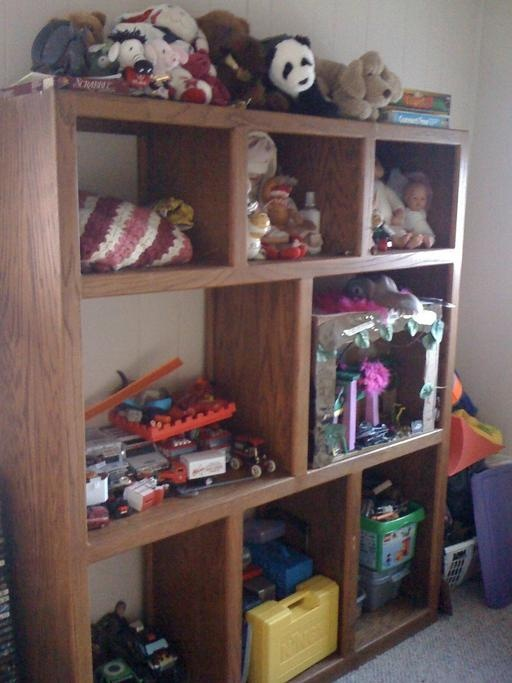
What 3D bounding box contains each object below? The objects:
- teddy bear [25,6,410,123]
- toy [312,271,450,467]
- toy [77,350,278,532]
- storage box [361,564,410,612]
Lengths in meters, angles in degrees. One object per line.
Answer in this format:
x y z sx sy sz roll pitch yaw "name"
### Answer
-0.024 -0.485 1.317 0.826 0.207 0.318 -2 19 -27 "teddy bear"
0.334 0.072 1.679 0.214 0.467 0.545 6 11 42 "toy"
-0.177 0.204 1.329 0.398 0.148 0.291 -1 8 38 "toy"
0.381 0.735 1.942 0.135 0.100 0.160 -1 0 44 "storage box"
